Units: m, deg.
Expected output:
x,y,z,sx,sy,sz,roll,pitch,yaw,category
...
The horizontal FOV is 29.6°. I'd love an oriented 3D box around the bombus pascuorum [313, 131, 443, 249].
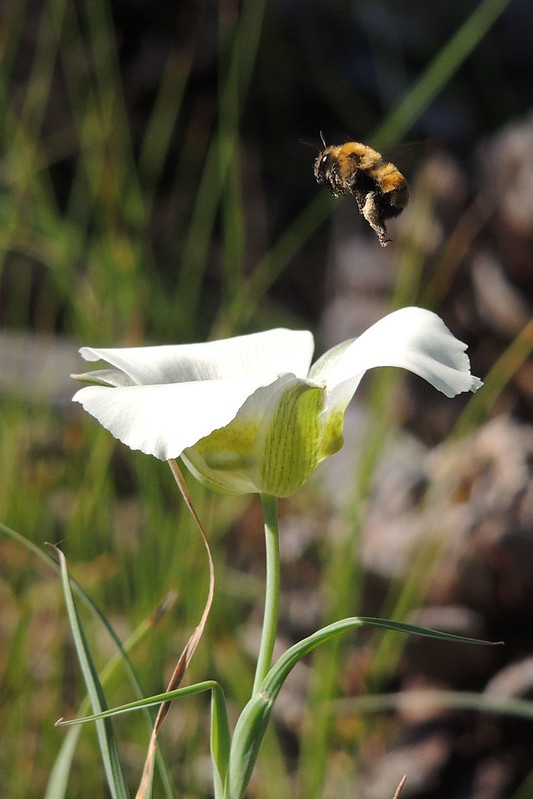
x,y,z,sx,sy,sz,roll,pitch,yaw,category
0.066,-0.123,0.599,0.055,0.049,0.072,-12,-72,-33,bombus pascuorum
